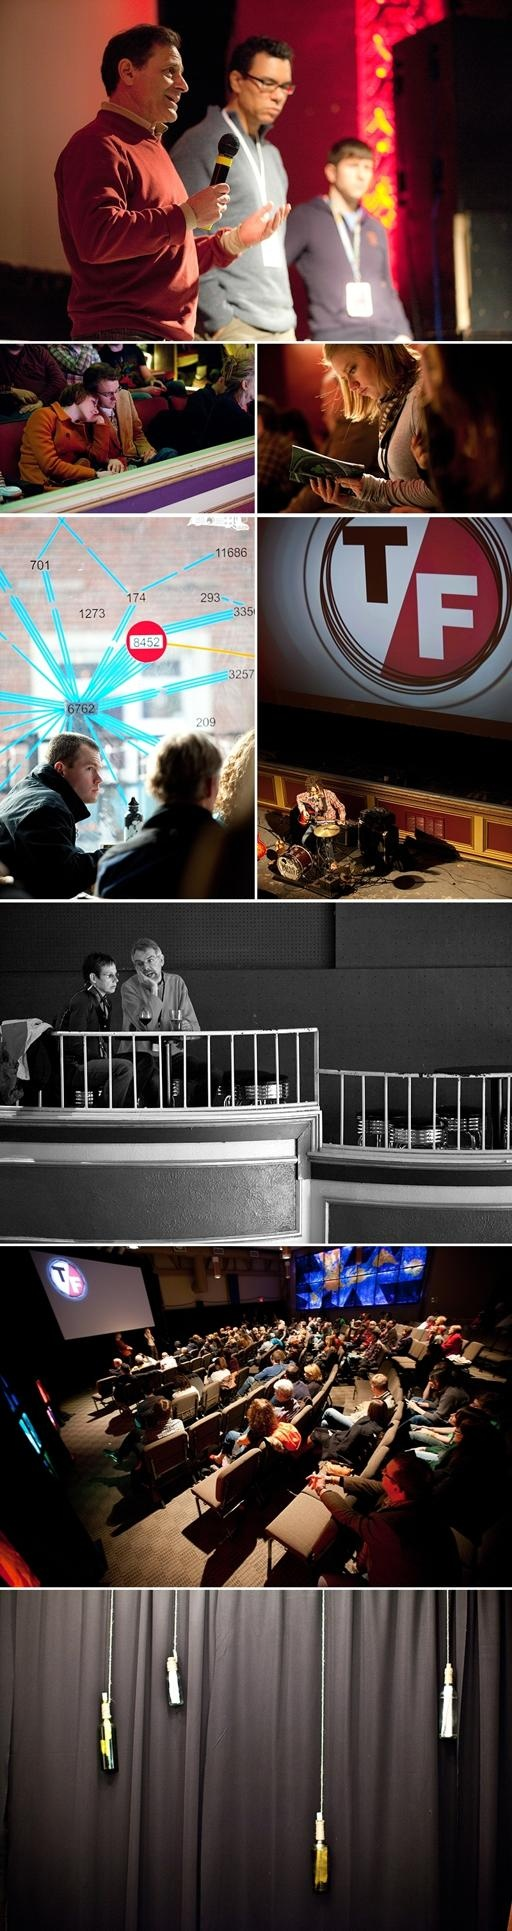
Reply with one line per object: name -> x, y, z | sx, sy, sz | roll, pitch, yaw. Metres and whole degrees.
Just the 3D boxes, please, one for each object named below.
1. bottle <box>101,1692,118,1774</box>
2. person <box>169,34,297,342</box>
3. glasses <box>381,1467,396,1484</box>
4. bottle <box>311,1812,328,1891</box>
bottle -> -0.607, 3.150, 3.828 | 0.052, 0.294, 0.095 | -2, 10, -1
person -> -0.019, -2.716, 3.671 | 0.304, 1.499, 0.305 | -13, 23, -30
glasses -> 0.509, 1.933, 3.539 | 0.046, 0.018, 0.051 | 45, -6, -1
bottle -> 0.257, 3.552, 3.744 | 0.060, 0.217, 0.110 | -1, 11, 7
